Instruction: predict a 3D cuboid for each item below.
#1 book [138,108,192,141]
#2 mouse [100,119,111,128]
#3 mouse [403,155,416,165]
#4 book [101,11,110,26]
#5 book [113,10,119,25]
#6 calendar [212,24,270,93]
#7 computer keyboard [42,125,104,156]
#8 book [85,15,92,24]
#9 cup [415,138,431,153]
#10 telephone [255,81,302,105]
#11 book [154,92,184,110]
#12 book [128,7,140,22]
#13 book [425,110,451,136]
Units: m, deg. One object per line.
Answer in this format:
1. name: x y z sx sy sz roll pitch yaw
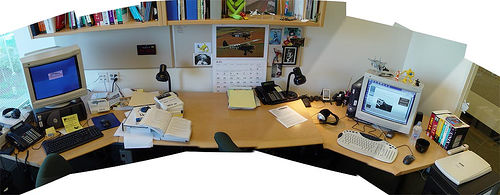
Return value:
1. book: -1.527 0.493 4.798 1.191 0.136 0.762 10 25 17
2. mouse: -2.588 0.460 4.886 0.133 0.042 0.157 -30 66 -19
3. mouse: 2.722 1.071 4.670 0.123 0.118 0.205 24 34 38
4. book: -2.572 -1.412 4.855 0.142 0.245 0.147 -11 32 -17
5. book: -2.395 -1.418 4.842 0.086 0.235 0.107 -12 33 -19
6. calendar: -0.185 -0.780 5.432 1.079 1.338 0.503 1 32 1
7. computer keyboard: -3.074 0.726 4.693 0.901 0.096 0.333 -25 59 -11
8. book: -2.837 -1.392 4.817 0.075 0.138 0.161 -16 31 -24
9. cup: 3.054 0.846 4.812 0.266 0.170 0.273 1 36 0
10. telephone: 0.535 -0.108 5.449 0.636 0.227 0.739 -16 30 -26
11. book: -1.526 0.048 5.106 0.431 0.089 0.342 -9 36 -25
12. book: -2.079 -1.504 4.918 0.062 0.251 0.231 -26 37 -35
13. book: 3.375 0.450 5.005 0.587 0.386 0.131 -10 21 -21
